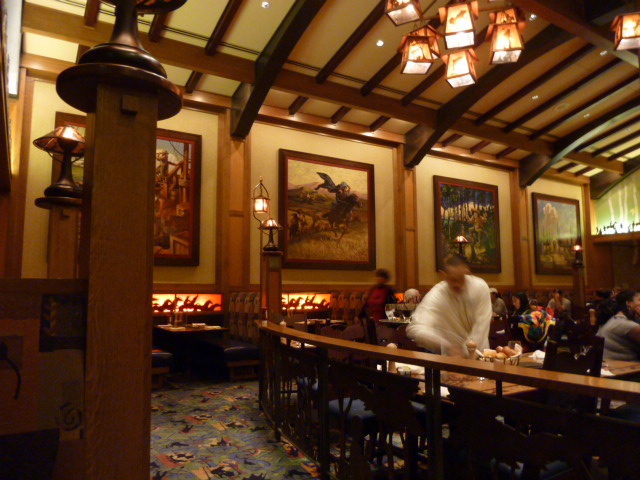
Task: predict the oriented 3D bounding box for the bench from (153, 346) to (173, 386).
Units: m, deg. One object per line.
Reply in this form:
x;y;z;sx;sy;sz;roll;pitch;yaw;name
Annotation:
-2.109;1.702;6.522;0.264;0.378;0.808;3;-8;-21;bench

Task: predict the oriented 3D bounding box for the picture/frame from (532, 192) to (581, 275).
6.871;-0.128;14.330;2.423;2.421;0.098;1;-8;-44;picture/frame

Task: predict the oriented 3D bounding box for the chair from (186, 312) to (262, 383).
-1.472;1.611;7.502;0.849;0.902;1.554;3;-6;-24;chair

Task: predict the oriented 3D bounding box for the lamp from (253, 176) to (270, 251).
-1.006;-0.395;8.448;0.289;1.329;0.286;-11;18;-30;lamp

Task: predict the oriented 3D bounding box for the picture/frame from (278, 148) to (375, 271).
0.065;-0.548;10.124;2.409;2.420;0.096;5;-13;-30;picture/frame

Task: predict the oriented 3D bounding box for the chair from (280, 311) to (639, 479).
0.584;0.882;2.520;0.298;0.600;1.893;5;-7;-38;chair

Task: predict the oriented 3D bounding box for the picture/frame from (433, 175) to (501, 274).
3.497;-0.363;11.810;2.336;2.643;0.097;6;-13;-32;picture/frame
